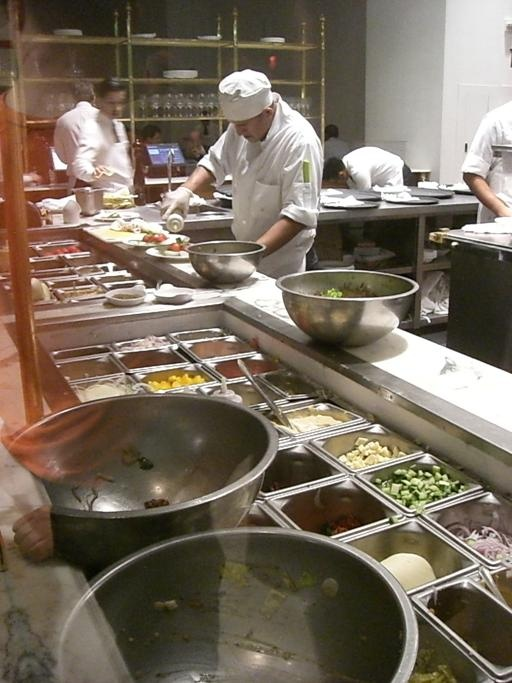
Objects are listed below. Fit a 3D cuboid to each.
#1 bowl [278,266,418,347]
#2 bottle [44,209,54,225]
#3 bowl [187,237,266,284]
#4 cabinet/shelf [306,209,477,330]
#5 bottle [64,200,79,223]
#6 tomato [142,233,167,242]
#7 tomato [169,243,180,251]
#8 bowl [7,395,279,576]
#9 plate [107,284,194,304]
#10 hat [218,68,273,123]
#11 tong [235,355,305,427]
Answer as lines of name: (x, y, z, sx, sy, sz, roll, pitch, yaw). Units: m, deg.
bowl: (0.210, -0.087, 1.238, 0.267, 0.097, 0.242, -1, 20, 0)
bottle: (-1.064, -0.636, 2.755, 0.047, 0.073, 0.081, -1, 17, -1)
bowl: (-0.111, -0.263, 1.823, 0.268, 0.102, 0.249, 0, 20, 0)
cabinet/shelf: (1.285, -0.564, 4.233, 1.615, 0.862, 0.675, 2, 5, 10)
bottle: (-0.950, -0.663, 2.752, 0.074, 0.112, 0.079, 8, 37, -6)
tomato: (-0.458, -0.465, 2.421, 0.065, 0.027, 0.071, -6, 12, -16)
tomato: (-0.333, -0.381, 2.188, 0.028, 0.030, 0.048, -3, 16, -43)
bowl: (-0.114, 0.113, 0.520, 0.165, 0.051, 0.160, 1, 16, 0)
plate: (-0.318, -0.134, 1.594, 0.164, 0.030, 0.106, -10, 25, -25)
hat: (-0.036, -1.008, 2.176, 0.240, 0.137, 0.222, 10, 34, 44)
tong: (0.017, 0.076, 1.088, 0.043, 0.023, 0.294, -4, 26, -23)
